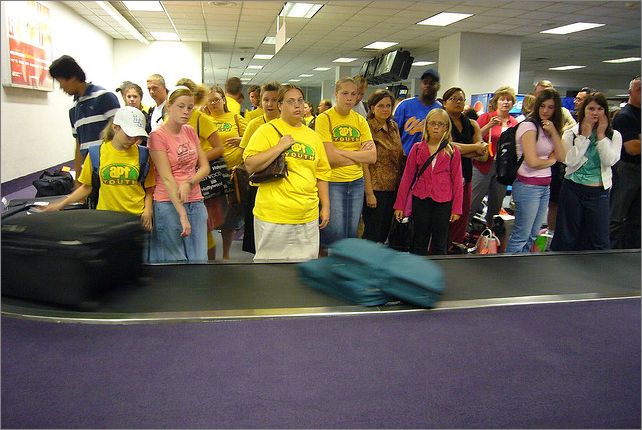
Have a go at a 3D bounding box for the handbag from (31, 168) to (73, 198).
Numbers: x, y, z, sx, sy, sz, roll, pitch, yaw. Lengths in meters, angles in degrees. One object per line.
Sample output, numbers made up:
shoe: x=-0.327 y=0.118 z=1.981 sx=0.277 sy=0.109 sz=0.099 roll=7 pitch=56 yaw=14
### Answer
handbag: x=-2.783 y=-0.340 z=4.673 sx=0.366 sy=0.157 sz=0.453 roll=11 pitch=17 yaw=30

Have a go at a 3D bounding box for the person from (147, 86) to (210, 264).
person: x=-0.983 y=-0.268 z=3.028 sx=0.399 sy=1.253 sz=1.091 roll=-2 pitch=12 yaw=-14

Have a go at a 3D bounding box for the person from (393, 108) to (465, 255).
person: x=0.942 y=-0.289 z=3.817 sx=0.572 sy=1.256 sz=0.326 roll=4 pitch=12 yaw=15

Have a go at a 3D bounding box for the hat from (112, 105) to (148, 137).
hat: x=-1.239 y=-0.601 z=2.882 sx=0.256 sy=0.129 sz=0.170 roll=25 pitch=20 yaw=23

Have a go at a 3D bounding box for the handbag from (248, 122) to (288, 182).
handbag: x=-0.343 y=-0.343 z=3.057 sx=0.257 sy=0.238 sz=0.189 roll=2 pitch=-4 yaw=-35

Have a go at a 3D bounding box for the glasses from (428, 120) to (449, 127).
glasses: x=1.014 y=-0.788 z=3.776 sx=0.165 sy=0.048 sz=0.055 roll=3 pitch=11 yaw=12

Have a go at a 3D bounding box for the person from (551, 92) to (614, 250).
person: x=2.364 y=-0.355 z=3.874 sx=0.467 sy=1.404 sz=0.343 roll=7 pitch=13 yaw=28

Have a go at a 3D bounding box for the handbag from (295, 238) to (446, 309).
handbag: x=0.256 y=0.279 z=2.066 sx=0.486 sy=0.151 sz=0.348 roll=10 pitch=15 yaw=-1

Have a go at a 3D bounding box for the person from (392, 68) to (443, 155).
person: x=0.974 y=-0.928 z=4.389 sx=0.545 sy=0.926 sz=0.261 roll=-2 pitch=31 yaw=-19

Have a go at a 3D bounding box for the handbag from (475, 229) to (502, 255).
handbag: x=1.743 y=0.274 z=4.390 sx=0.116 sy=0.221 sz=0.225 roll=-9 pitch=8 yaw=26

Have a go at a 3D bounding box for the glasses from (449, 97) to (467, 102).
glasses: x=1.319 y=-1.096 z=4.161 sx=0.173 sy=0.036 sz=0.090 roll=-4 pitch=12 yaw=-25
